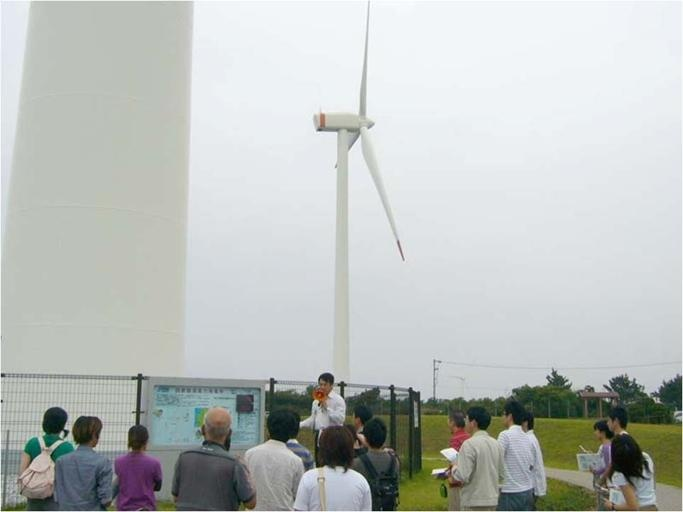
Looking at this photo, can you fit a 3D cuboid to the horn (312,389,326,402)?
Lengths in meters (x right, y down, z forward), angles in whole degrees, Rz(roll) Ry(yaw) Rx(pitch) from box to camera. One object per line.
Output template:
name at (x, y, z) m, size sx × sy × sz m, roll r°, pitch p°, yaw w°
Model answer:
horn at (-0.409, 2.581, 14.240) m, size 0.223 × 0.234 × 0.248 m, roll 0°, pitch -12°, yaw -3°

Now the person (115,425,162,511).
person at (-2.972, 3.104, 11.240) m, size 0.649 × 1.180 × 0.263 m, roll 3°, pitch -12°, yaw -17°

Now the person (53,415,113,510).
person at (-3.693, 2.978, 11.086) m, size 0.814 × 1.311 × 0.288 m, roll 4°, pitch -12°, yaw -19°
